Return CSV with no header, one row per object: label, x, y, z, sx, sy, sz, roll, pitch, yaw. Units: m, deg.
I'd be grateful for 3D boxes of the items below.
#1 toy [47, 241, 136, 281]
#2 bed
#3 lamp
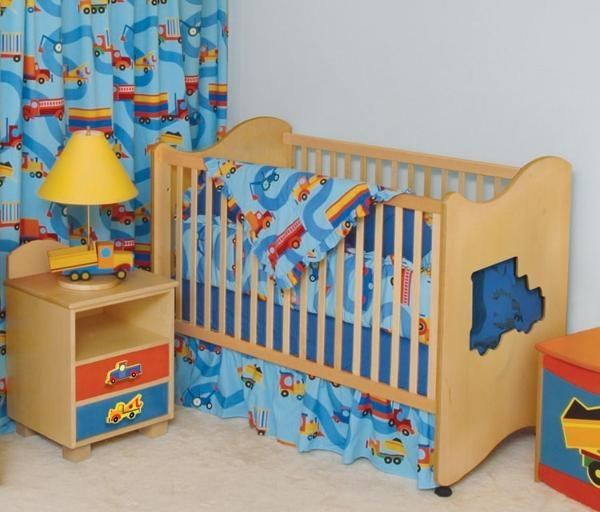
toy,-0.804,0.011,2.864,0.290,0.152,0.146,-5,13,-20
bed,0.038,-0.053,3.314,1.172,0.948,1.431,6,17,-6
lamp,-0.784,-0.179,2.803,0.317,0.548,0.329,-4,-4,2
